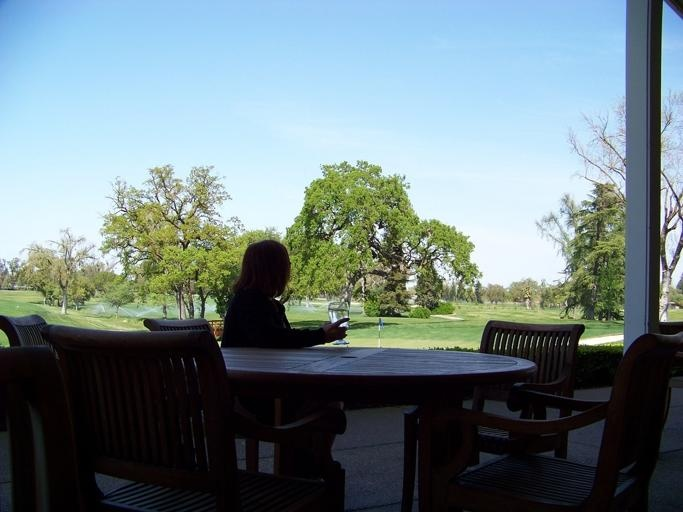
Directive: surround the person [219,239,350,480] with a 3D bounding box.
[{"bbox_3d":[-0.260,0.481,2.396,0.605,1.188,1.163,1,-3,-16],"label":"person"}]
